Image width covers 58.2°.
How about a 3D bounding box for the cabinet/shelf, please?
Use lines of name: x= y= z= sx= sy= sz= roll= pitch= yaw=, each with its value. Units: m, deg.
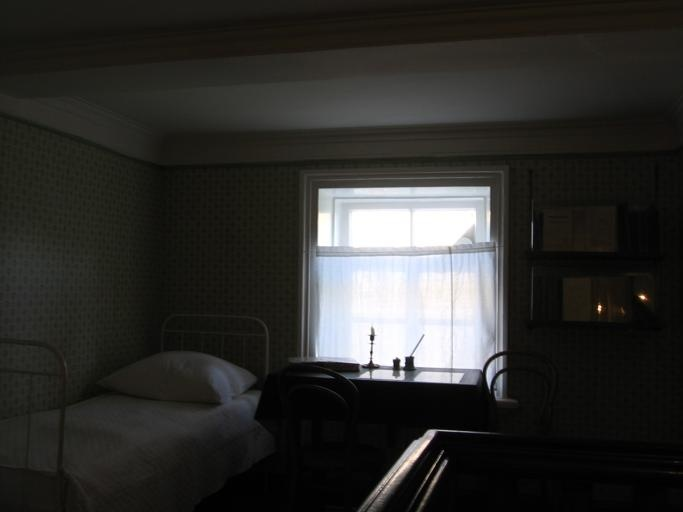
cabinet/shelf: x=1.137 y=0.047 z=2.703 sx=0.219 sy=0.565 sz=0.601 roll=1 pitch=-3 yaw=-27
